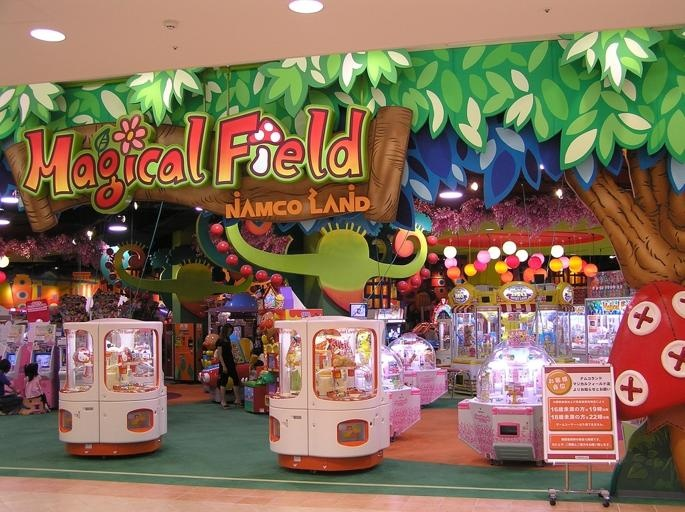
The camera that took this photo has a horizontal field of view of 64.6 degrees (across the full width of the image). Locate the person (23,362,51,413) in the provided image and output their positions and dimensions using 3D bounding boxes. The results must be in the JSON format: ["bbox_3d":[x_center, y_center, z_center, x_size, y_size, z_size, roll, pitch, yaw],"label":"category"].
[{"bbox_3d":[-6.678,2.878,11.753,0.512,1.084,0.392,2,-4,-31],"label":"person"}]

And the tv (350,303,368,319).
[{"bbox_3d":[0.455,1.372,13.452,0.224,0.409,0.798,-2,-3,28],"label":"tv"}]
